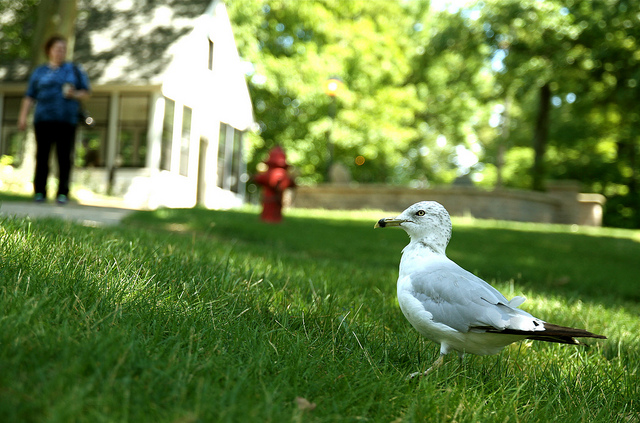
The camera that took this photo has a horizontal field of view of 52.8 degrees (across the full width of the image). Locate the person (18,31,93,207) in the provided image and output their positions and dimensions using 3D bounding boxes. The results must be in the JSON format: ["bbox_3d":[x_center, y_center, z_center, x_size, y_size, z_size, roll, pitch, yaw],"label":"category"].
[{"bbox_3d":[-4.745,-1.730,11.546,1.193,2.937,0.896,-1,-1,-5],"label":"person"}]

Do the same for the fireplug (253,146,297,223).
[{"bbox_3d":[-0.930,-0.555,13.246,0.810,1.585,0.917,3,2,-4],"label":"fireplug"}]
